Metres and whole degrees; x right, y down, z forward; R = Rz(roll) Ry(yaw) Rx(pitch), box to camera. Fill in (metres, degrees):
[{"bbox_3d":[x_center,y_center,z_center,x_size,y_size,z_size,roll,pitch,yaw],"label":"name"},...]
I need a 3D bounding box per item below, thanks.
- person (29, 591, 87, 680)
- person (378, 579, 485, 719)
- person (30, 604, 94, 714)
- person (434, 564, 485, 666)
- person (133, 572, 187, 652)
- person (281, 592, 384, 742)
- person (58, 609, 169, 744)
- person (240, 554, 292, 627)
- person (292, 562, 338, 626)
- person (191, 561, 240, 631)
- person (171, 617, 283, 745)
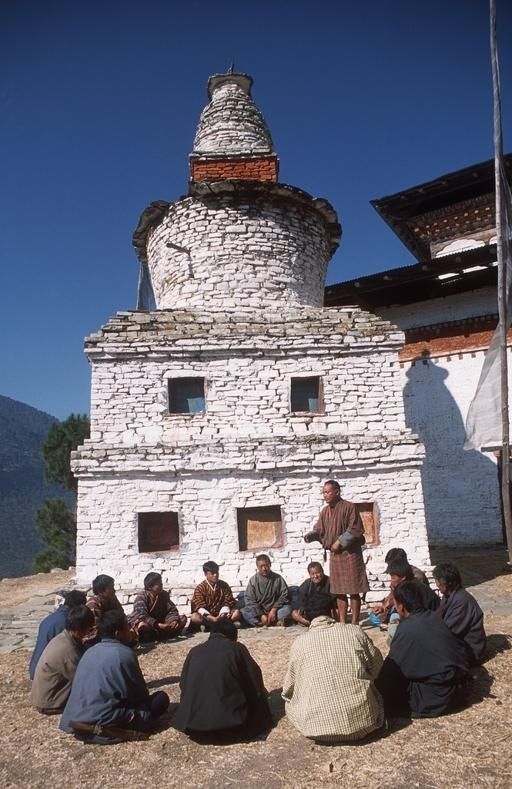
[{"bbox_3d":[-1.779,2.260,7.360,0.443,0.802,0.432,3,3,36],"label":"person"},{"bbox_3d":[1.291,2.082,6.591,0.919,0.933,0.827,-6,3,-5],"label":"person"},{"bbox_3d":[-1.672,2.299,6.824,0.531,0.890,0.459,10,0,-33],"label":"person"},{"bbox_3d":[1.824,2.031,7.228,0.585,0.862,0.566,-7,-4,13],"label":"person"},{"bbox_3d":[-1.163,2.437,8.986,0.729,0.736,0.572,5,-6,-38],"label":"person"},{"bbox_3d":[0.609,2.173,6.233,0.802,0.991,0.674,-2,-13,-7],"label":"person"},{"bbox_3d":[-1.101,2.344,6.529,0.971,1.161,0.908,-2,-9,23],"label":"person"},{"bbox_3d":[0.098,2.332,9.290,0.668,0.736,0.468,-2,0,-9],"label":"person"},{"bbox_3d":[0.674,2.278,8.896,0.578,0.673,0.489,-2,-5,19],"label":"person"},{"bbox_3d":[-0.514,2.356,9.136,0.668,0.705,0.523,-1,4,-22],"label":"person"},{"bbox_3d":[-0.179,2.311,6.379,1.006,1.047,0.730,1,-18,4],"label":"person"}]
